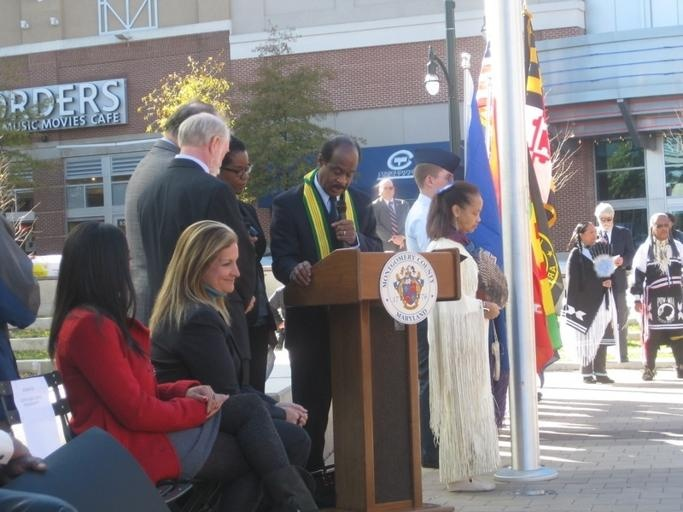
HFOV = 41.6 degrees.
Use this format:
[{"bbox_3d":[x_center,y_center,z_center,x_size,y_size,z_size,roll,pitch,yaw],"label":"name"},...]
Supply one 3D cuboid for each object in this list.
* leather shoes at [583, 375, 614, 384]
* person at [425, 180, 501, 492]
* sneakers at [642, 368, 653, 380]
[{"bbox_3d":[3.747,1.780,13.042,0.419,0.218,0.159,-3,-2,21],"label":"leather shoes"},{"bbox_3d":[1.017,0.678,7.456,0.574,2.080,0.604,-1,0,10],"label":"person"},{"bbox_3d":[4.503,1.748,13.161,0.137,0.162,0.121,1,-5,-4],"label":"sneakers"}]
